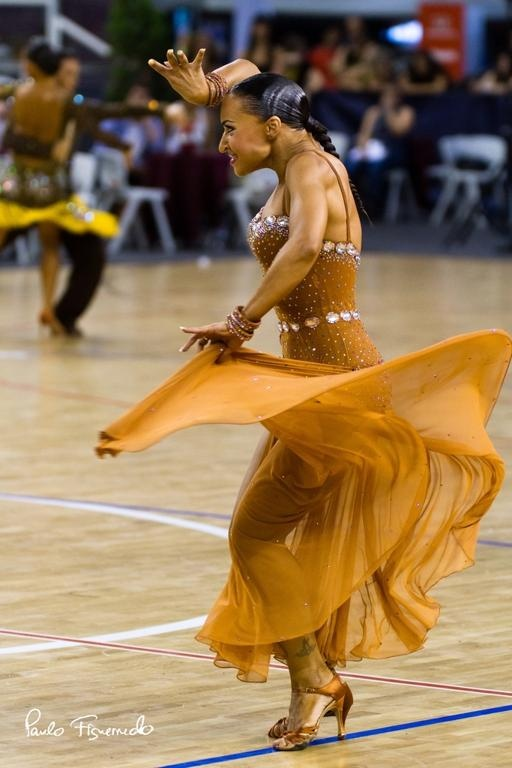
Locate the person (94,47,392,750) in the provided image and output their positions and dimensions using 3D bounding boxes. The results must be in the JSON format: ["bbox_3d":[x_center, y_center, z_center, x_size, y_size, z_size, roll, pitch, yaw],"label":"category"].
[{"bbox_3d":[0.027,0.008,1.866,0.496,1.350,0.601,1,10,-6],"label":"person"}]

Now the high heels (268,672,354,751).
[{"bbox_3d":[0.081,0.609,1.773,0.080,0.096,0.238,-2,-5,43],"label":"high heels"}]
